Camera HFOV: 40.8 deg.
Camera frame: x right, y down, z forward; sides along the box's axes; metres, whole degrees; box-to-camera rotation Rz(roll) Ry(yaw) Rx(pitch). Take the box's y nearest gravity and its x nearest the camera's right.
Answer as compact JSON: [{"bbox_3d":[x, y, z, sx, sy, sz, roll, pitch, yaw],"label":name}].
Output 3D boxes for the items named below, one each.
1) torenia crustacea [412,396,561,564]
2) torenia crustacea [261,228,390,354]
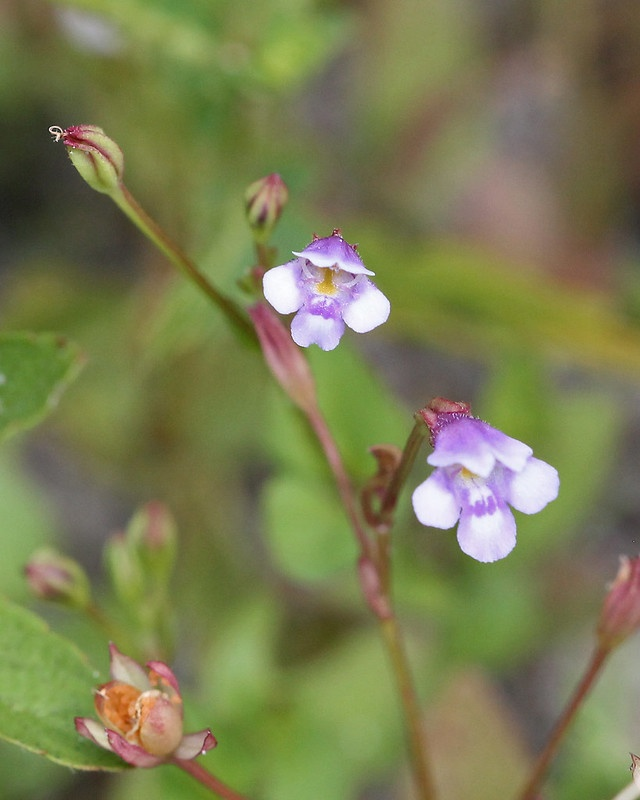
[{"bbox_3d":[0.109,0.063,0.603,0.099,0.053,0.115,-12,80,-8],"label":"torenia crustacea"},{"bbox_3d":[0.003,-0.076,0.694,0.080,0.131,0.081,-31,79,-6],"label":"torenia crustacea"}]
